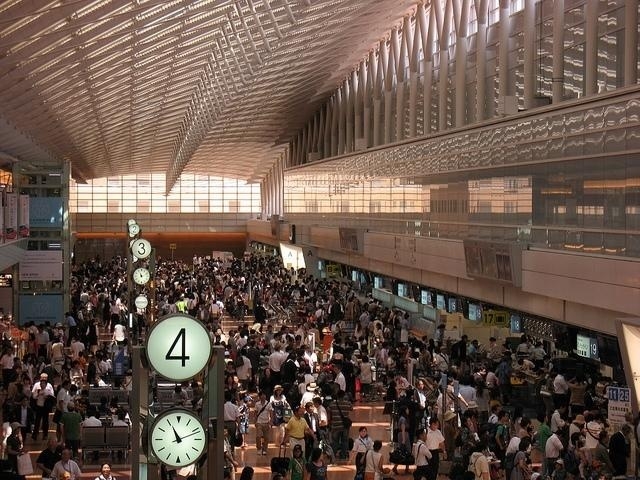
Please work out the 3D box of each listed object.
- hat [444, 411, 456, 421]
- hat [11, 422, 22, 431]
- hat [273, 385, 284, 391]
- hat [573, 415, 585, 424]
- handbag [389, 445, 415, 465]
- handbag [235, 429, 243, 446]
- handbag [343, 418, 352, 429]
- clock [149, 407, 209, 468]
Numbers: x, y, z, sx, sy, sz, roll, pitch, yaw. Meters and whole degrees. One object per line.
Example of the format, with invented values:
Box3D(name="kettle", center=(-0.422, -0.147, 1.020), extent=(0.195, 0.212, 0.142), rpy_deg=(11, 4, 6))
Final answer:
Box3D(name="hat", center=(2.898, 3.951, 11.857), extent=(0.302, 0.218, 0.232), rpy_deg=(1, -3, 2))
Box3D(name="hat", center=(-5.521, 3.407, 9.783), extent=(0.152, 0.080, 0.160), rpy_deg=(-13, 0, -15))
Box3D(name="hat", center=(-1.035, 3.782, 13.536), extent=(0.333, 0.125, 0.364), rpy_deg=(1, -8, 0))
Box3D(name="hat", center=(5.335, 3.721, 11.075), extent=(0.206, 0.209, 0.461), rpy_deg=(-1, -4, 27))
Box3D(name="handbag", center=(1.777, 4.772, 11.699), extent=(0.567, 0.377, 0.382), rpy_deg=(2, -4, -13))
Box3D(name="handbag", center=(-2.022, 5.017, 13.490), extent=(0.188, 0.621, 0.590), rpy_deg=(1, -4, -8))
Box3D(name="handbag", center=(0.660, 4.334, 12.616), extent=(0.132, 0.298, 0.364), rpy_deg=(0, -4, 19))
Box3D(name="clock", center=(-1.246, 1.748, 4.742), extent=(0.486, 0.514, 0.155), rpy_deg=(1, -4, 2))
